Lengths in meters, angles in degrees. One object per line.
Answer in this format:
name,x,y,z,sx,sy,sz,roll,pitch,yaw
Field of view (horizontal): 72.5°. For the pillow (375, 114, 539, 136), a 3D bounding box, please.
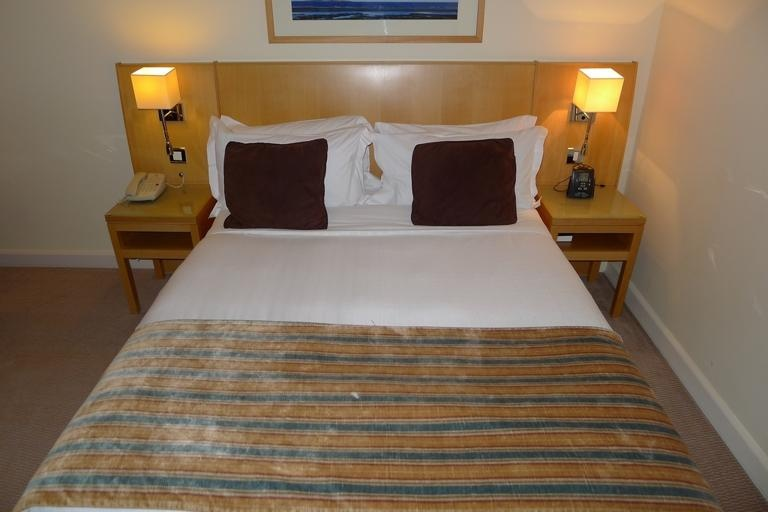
pillow,0.545,-0.886,3.513,0.882,0.176,0.099,0,-10,3
